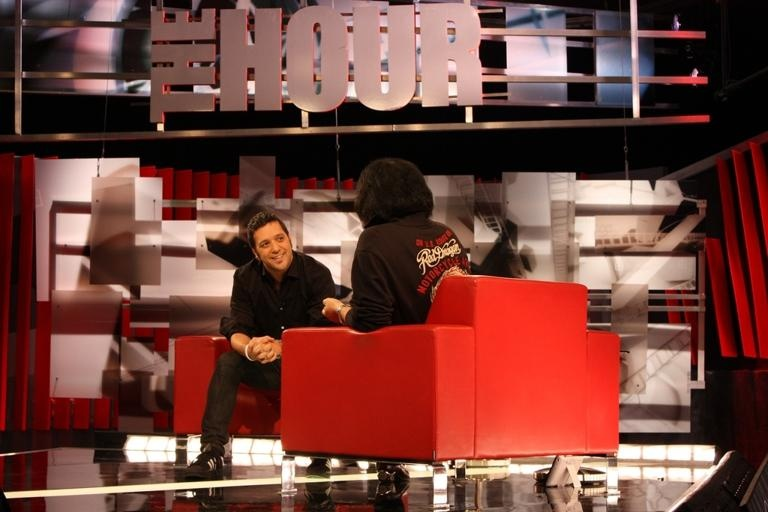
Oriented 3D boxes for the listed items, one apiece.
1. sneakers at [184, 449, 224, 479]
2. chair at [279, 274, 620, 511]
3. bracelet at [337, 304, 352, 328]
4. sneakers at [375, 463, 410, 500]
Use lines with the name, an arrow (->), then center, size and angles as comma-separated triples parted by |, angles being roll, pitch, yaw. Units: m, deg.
sneakers -> -1.249, 1.441, 6.356 | 0.260, 0.177, 0.166 | -3, 27, -14
chair -> 0.351, 0.778, 6.140 | 2.041, 1.473, 1.457 | 2, -3, -43
bracelet -> -0.237, 0.381, 6.091 | 0.093, 0.141, 0.138 | 4, -21, -4
sneakers -> 0.057, 1.533, 6.248 | 0.238, 0.210, 0.190 | 3, -8, -4
